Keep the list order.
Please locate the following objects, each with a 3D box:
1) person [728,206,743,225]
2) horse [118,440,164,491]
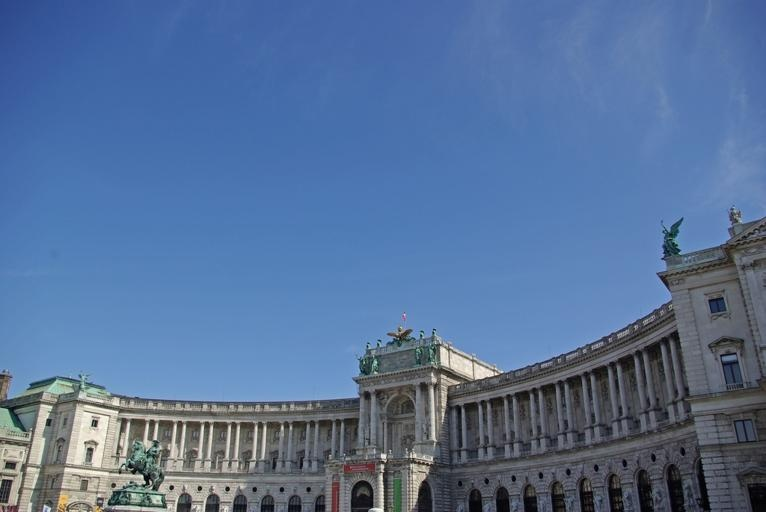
[{"bbox_3d":[30.175,-3.609,52.254,0.691,1.647,1.260,-11,-28,22],"label":"person"},{"bbox_3d":[-20.360,17.996,52.413,2.752,4.228,2.924,8,-27,-14],"label":"horse"}]
